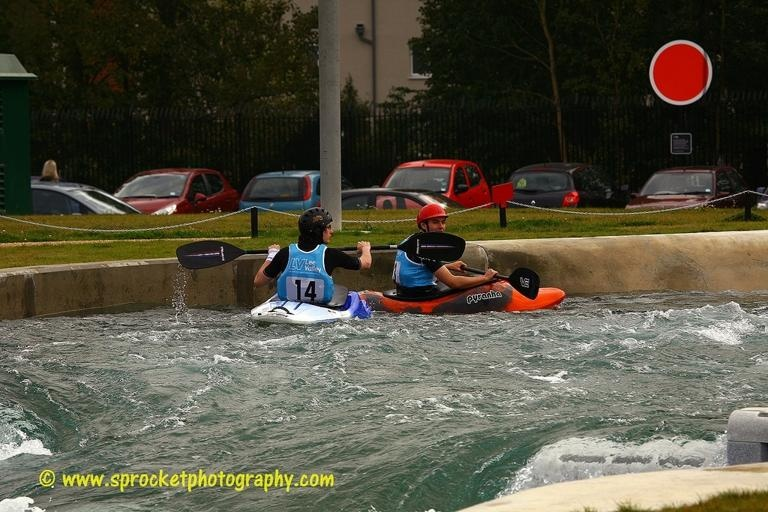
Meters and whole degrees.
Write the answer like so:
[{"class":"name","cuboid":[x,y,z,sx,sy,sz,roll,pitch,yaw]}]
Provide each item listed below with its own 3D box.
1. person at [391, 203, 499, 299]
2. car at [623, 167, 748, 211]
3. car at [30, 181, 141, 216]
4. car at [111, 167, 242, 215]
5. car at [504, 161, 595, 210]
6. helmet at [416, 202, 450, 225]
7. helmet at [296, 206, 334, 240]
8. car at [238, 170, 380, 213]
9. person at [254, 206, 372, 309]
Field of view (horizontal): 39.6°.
[{"class":"person","cuboid":[0.811,-0.093,16.165,1.269,1.397,0.598,-3,5,-14]},{"class":"car","cuboid":[6.988,-1.613,24.769,2.510,0.942,2.413,-1,4,14]},{"class":"car","cuboid":[-6.779,-1.298,23.752,2.178,0.681,1.008,0,5,22]},{"class":"car","cuboid":[-4.809,-1.555,25.632,1.626,0.883,2.301,1,0,33]},{"class":"car","cuboid":[4.129,-1.766,26.356,1.838,1.081,2.394,0,5,19]},{"class":"helmet","cuboid":[0.644,-0.660,16.281,0.486,0.203,0.356,-9,-8,31]},{"class":"helmet","cuboid":[-0.982,-0.505,15.210,0.560,0.402,0.382,-5,18,-23]},{"class":"car","cuboid":[-2.407,-1.548,25.379,1.228,0.703,1.756,3,10,21]},{"class":"person","cuboid":[-1.110,0.070,16.649,1.530,1.754,0.979,14,52,10]}]
